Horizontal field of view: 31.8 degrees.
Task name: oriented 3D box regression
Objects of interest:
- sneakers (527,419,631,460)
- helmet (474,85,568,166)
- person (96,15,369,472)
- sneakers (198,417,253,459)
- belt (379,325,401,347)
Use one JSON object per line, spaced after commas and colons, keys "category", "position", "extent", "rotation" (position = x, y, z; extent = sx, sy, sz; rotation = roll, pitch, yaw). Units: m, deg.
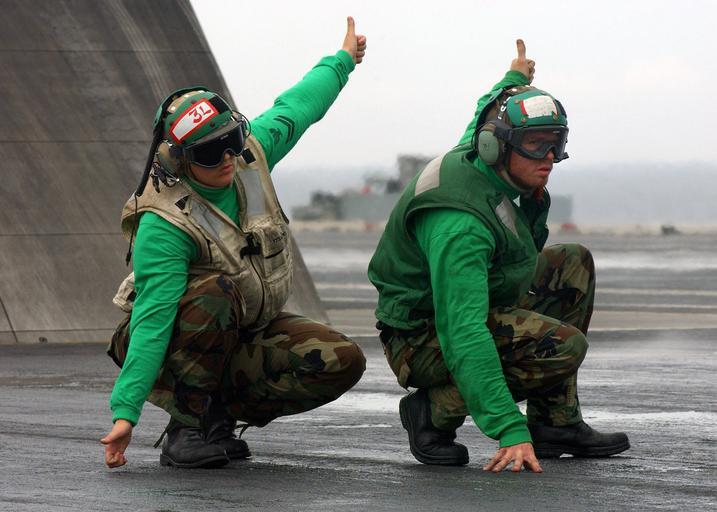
{"category": "sneakers", "position": [1.105, 0.939, 6.391], "extent": [0.575, 0.249, 0.191], "rotation": [-3, 0, 0]}
{"category": "helmet", "position": [0.850, -0.676, 6.448], "extent": [0.492, 0.384, 0.487], "rotation": [-10, 12, -42]}
{"category": "person", "position": [-0.679, 0.020, 6.371], "extent": [1.342, 1.974, 0.962], "rotation": [-2, 8, -15]}
{"category": "sneakers", "position": [-0.668, 0.920, 6.358], "extent": [0.283, 0.242, 0.150], "rotation": [-6, -1, 1]}
{"category": "belt", "position": [0.152, 0.397, 6.533], "extent": [0.098, 0.119, 0.119], "rotation": [-4, 46, -17]}
